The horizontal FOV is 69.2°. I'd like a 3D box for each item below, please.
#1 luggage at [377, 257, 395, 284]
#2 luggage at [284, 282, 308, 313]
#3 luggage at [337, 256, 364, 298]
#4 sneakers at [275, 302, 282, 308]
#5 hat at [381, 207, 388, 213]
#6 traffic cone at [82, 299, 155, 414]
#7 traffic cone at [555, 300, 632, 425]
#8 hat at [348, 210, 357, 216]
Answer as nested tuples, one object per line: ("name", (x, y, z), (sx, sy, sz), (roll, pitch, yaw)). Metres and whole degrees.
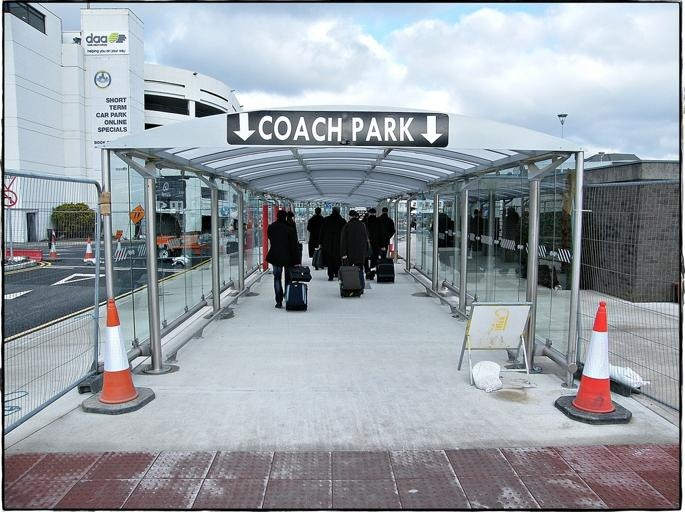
("luggage", (1.253, 0.389, 15.045), (0.419, 0.702, 0.701), (1, 19, 3))
("luggage", (-0.937, 0.872, 10.414), (0.589, 0.938, 0.479), (0, -9, 0))
("luggage", (0.223, 0.622, 12.114), (0.595, 0.764, 0.481), (-1, 7, -7))
("sneakers", (-1.406, 1.055, 10.848), (0.129, 0.125, 0.095), (4, 2, 28))
("hat", (1.362, -1.477, 15.849), (0.227, 0.226, 0.230), (11, 11, 43))
("traffic cone", (-2.542, 1.079, 5.559), (0.704, 1.132, 0.618), (1, 7, 9))
("traffic cone", (2.655, 1.180, 5.641), (0.956, 1.377, 0.982), (3, -2, 5))
("hat", (0.272, -1.081, 12.604), (0.129, 0.165, 0.168), (1, 8, 1))
